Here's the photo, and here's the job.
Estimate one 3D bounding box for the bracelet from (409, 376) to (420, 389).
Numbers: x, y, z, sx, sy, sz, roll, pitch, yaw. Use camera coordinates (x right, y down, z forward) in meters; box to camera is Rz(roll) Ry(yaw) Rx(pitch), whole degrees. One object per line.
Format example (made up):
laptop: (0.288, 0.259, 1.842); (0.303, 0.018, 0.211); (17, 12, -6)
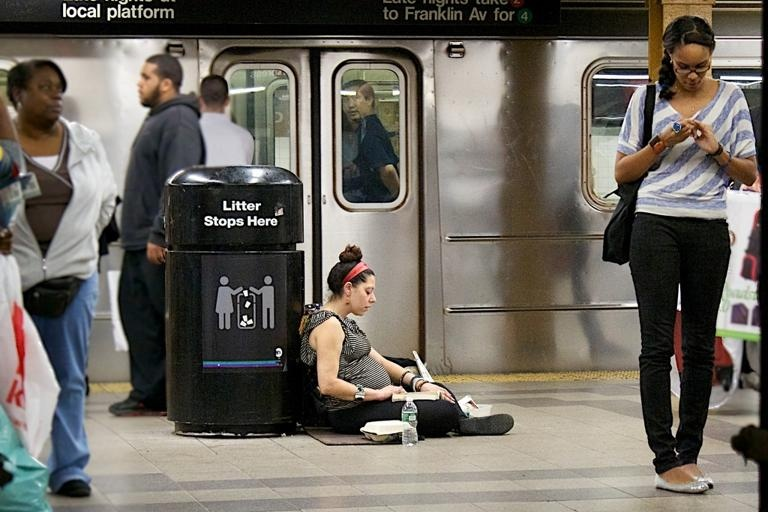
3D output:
bracelet: (0.240, 1.012, 6.722); (0.070, 0.085, 0.046); (-2, -2, 1)

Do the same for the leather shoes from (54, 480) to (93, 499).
leather shoes: (-1.751, 1.335, 4.828); (0.231, 0.085, 0.082); (2, -3, -1)

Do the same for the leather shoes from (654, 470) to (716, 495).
leather shoes: (1.707, 1.308, 4.871); (0.281, 0.104, 0.116); (-6, -2, 25)

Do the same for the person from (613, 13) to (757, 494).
person: (1.716, -0.012, 4.955); (0.817, 2.734, 0.460); (1, 3, 10)

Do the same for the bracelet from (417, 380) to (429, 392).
bracelet: (0.294, 1.031, 6.639); (0.065, 0.037, 0.082); (-6, 3, 25)

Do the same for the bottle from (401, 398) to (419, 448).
bottle: (0.186, 1.203, 6.146); (0.127, 0.294, 0.282); (0, 3, 1)

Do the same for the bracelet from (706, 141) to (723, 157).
bracelet: (1.878, -0.604, 4.815); (0.073, 0.068, 0.025); (-6, -12, -4)

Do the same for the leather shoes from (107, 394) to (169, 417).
leather shoes: (-2.114, 1.299, 7.299); (0.517, 0.216, 0.184); (5, -8, -16)

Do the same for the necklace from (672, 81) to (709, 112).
necklace: (1.789, -0.911, 4.960); (0.166, 0.210, 0.081); (27, -28, 27)

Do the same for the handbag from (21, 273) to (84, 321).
handbag: (-1.880, 0.237, 4.820); (0.210, 0.109, 0.265); (-8, 18, 20)

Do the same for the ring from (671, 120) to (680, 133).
ring: (1.643, -0.726, 4.803); (0.062, 0.073, 0.018); (-1, -17, 17)

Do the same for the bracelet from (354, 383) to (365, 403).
bracelet: (-0.178, 1.032, 6.282); (0.085, 0.106, 0.102); (-1, -11, -10)

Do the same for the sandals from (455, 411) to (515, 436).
sandals: (0.751, 1.259, 6.394); (0.488, 0.154, 0.186); (0, 0, 0)

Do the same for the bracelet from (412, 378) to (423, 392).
bracelet: (0.260, 1.024, 6.695); (0.045, 0.080, 0.067); (2, -5, -36)

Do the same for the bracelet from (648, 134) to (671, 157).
bracelet: (1.569, -0.631, 4.845); (0.137, 0.083, 0.122); (9, 17, 13)

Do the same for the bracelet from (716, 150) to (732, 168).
bracelet: (1.924, -0.546, 4.818); (0.073, 0.089, 0.043); (-6, -3, 4)
